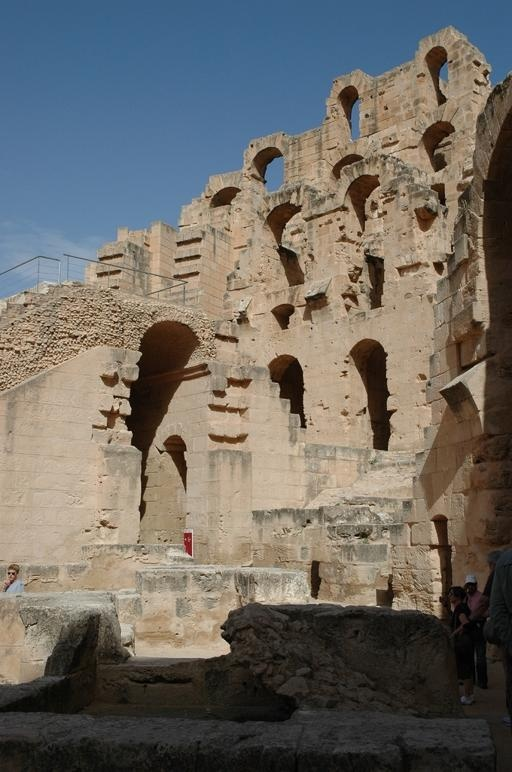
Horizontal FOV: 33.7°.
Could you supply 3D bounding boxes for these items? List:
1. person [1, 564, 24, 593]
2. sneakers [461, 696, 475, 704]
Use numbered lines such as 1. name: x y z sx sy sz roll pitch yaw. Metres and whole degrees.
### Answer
1. person: -2.437 1.928 8.404 0.167 0.283 1.840 3 -10 -18
2. sneakers: 1.470 2.185 5.831 0.081 0.073 0.183 0 -11 9
